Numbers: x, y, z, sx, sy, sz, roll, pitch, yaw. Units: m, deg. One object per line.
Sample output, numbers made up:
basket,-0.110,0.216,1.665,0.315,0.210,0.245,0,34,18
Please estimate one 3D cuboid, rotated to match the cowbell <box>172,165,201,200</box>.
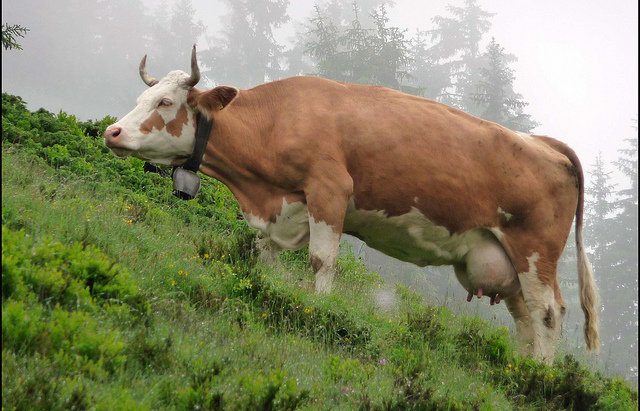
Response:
cowbell,-2.323,-0.342,8.431,0.558,0.531,0.299,26,-45,-32
